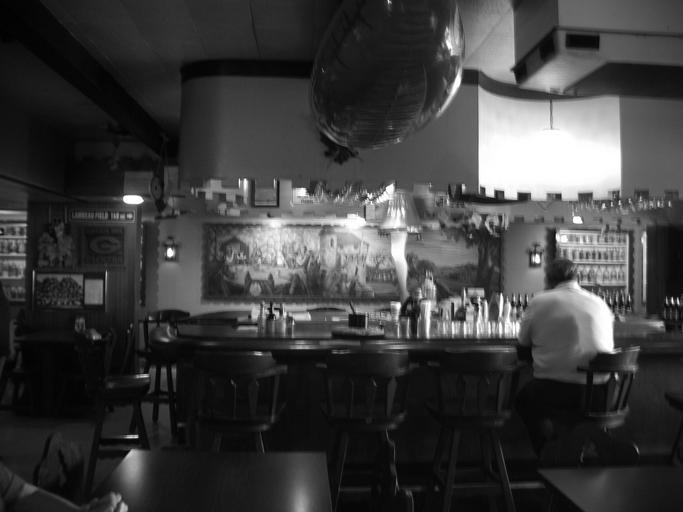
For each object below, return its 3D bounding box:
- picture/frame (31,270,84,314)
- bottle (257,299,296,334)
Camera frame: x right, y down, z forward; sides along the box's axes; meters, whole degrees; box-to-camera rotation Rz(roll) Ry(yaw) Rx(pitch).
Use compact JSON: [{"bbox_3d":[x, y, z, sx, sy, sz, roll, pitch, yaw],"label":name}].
[{"bbox_3d":[-3.654,0.451,8.193,0.482,0.462,0.048,1,-4,-13],"label":"picture/frame"},{"bbox_3d":[-0.592,0.549,5.920,0.356,0.415,0.272,0,0,-4],"label":"bottle"}]
